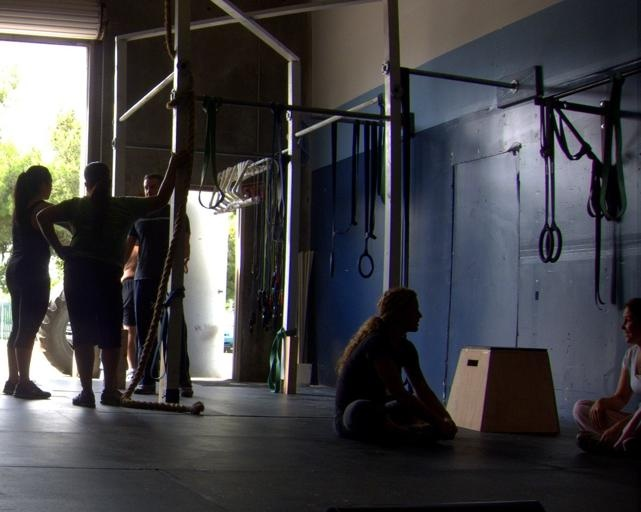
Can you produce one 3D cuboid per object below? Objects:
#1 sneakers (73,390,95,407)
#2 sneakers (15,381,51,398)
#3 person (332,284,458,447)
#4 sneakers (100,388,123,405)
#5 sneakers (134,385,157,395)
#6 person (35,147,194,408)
[{"bbox_3d":[-1.628,0.973,4.510,0.138,0.117,0.238,3,-3,-31],"label":"sneakers"},{"bbox_3d":[-2.124,0.977,4.865,0.262,0.152,0.118,5,-4,-10],"label":"sneakers"},{"bbox_3d":[0.466,0.635,3.798,0.669,0.909,0.659,6,-12,-33],"label":"person"},{"bbox_3d":[-1.473,0.985,4.597,0.177,0.097,0.088,4,-2,-18],"label":"sneakers"},{"bbox_3d":[-1.538,1.165,5.727,0.184,0.093,0.077,8,-11,-12],"label":"sneakers"},{"bbox_3d":[-1.582,0.249,4.541,0.702,1.567,0.318,2,-3,-25],"label":"person"}]
